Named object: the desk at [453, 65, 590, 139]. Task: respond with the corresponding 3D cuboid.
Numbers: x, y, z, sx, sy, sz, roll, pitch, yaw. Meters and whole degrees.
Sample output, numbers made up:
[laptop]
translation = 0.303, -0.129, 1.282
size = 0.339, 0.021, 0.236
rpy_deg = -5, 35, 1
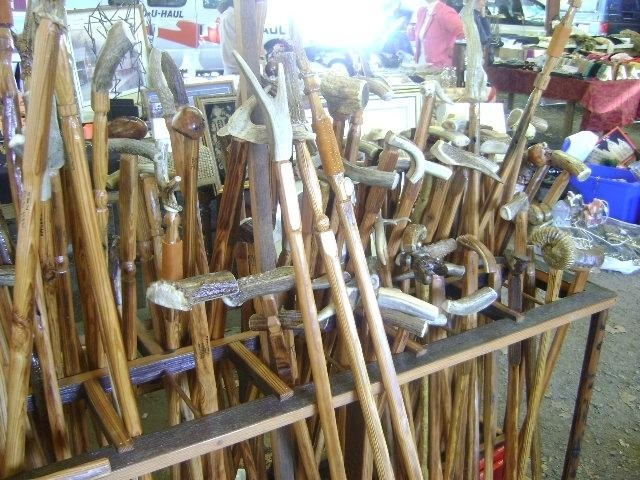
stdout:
[desk]
translation = 2.053, -1.299, 5.123
size = 0.829, 0.592, 0.570
rpy_deg = 13, 23, 17
